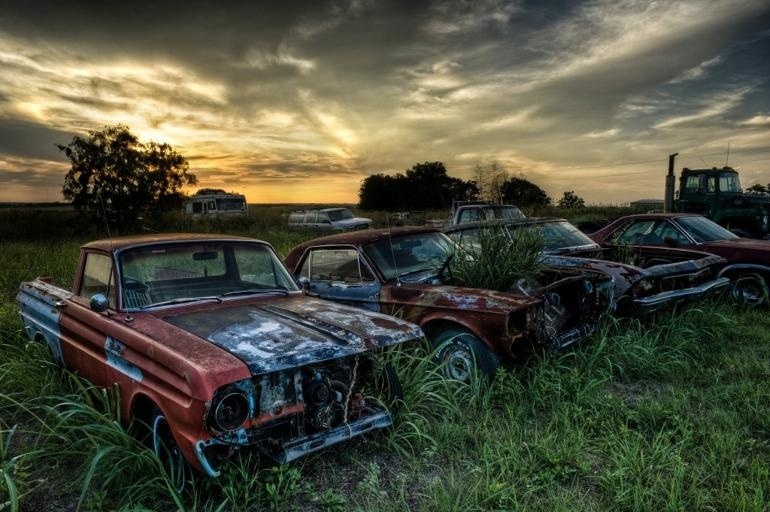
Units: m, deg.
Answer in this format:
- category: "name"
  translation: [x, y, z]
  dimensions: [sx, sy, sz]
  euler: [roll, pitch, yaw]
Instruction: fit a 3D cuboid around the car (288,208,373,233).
- category: "car"
  translation: [-3.120, -2.004, 22.152]
  dimensions: [3.807, 1.499, 2.054]
  euler: [3, 9, 29]
